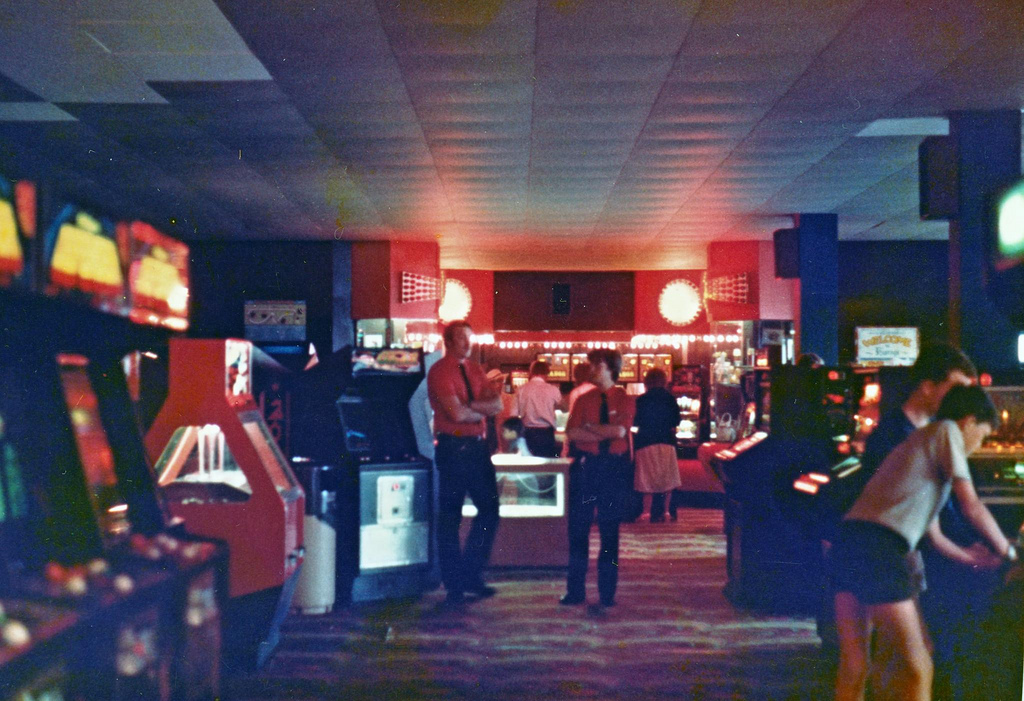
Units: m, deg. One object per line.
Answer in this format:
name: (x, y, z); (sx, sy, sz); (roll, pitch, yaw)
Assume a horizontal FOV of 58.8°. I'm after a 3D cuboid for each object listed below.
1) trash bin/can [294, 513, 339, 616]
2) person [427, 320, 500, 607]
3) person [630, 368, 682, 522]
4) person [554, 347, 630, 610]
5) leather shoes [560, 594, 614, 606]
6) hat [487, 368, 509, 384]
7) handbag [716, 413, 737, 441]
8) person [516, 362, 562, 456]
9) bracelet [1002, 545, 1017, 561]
trash bin/can: (-1.346, 1.453, 6.218); (0.281, 0.671, 0.128); (-3, 8, -21)
person: (-0.331, 0.770, 6.477); (0.500, 1.941, 0.441); (-1, 8, -7)
person: (1.458, 0.942, 9.226); (0.450, 1.481, 0.470); (1, 8, 7)
person: (0.599, 0.881, 6.450); (0.472, 1.729, 0.628); (1, 8, 7)
leather shoes: (0.510, 1.728, 6.324); (0.394, 0.063, 0.120); (1, 7, 8)
hat: (-0.173, 0.322, 11.347); (0.236, 0.072, 0.222); (-33, 40, -32)
handbag: (2.429, 0.867, 10.341); (0.202, 0.270, 0.319); (1, 8, 11)
person: (0.311, 0.802, 9.579); (0.475, 1.377, 0.356); (-1, 24, -2)
bracelet: (2.429, 0.986, 4.442); (0.080, 0.067, 0.068); (-3, -9, 23)
